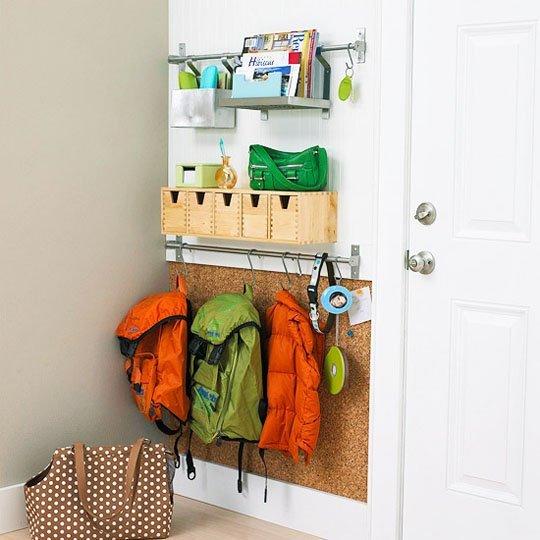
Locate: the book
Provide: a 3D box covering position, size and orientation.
[{"bbox_3d":[0.031,-0.680,1.892,0.230,0.259,0.028,4,-7,41],"label":"book"}]

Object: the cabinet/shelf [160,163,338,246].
[{"bbox_3d":[-0.092,-0.205,2.070,0.571,0.243,0.195,6,8,26],"label":"cabinet/shelf"}]

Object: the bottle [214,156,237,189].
[{"bbox_3d":[-0.172,-0.355,2.121,0.086,0.169,0.095,-3,4,-28],"label":"bottle"}]
